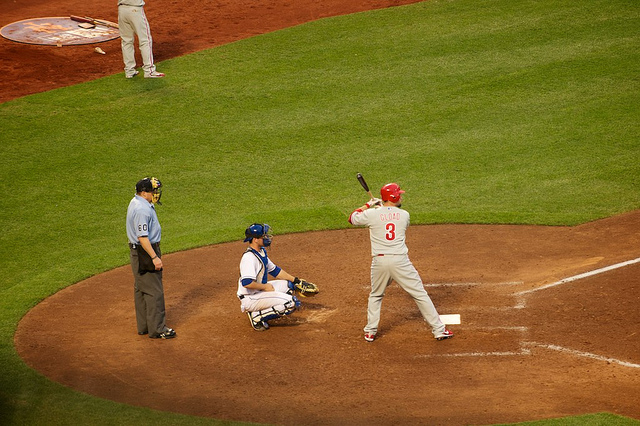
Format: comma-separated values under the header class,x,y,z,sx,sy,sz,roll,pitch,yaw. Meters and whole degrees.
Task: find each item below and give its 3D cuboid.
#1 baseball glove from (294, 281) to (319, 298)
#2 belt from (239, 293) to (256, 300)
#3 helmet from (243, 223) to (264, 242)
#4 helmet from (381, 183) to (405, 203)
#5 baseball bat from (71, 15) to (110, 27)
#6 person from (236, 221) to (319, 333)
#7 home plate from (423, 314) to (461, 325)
class,x,y,z,sx,sy,sz,roll,pitch,yaw
baseball glove,-0.253,1.537,21.314,0.488,0.288,0.164,17,58,-6
belt,-1.416,1.643,21.017,0.195,0.122,0.039,-2,7,-1
helmet,-1.281,0.381,20.921,0.493,0.329,0.284,-8,24,-2
helmet,1.397,-0.405,20.685,0.374,0.346,0.321,-7,25,3
baseball bat,-7.263,-6.052,33.353,1.828,0.164,0.175,13,37,17
person,-0.956,1.240,21.074,1.463,2.108,0.895,-12,28,-5
home plate,2.613,2.110,21.093,0.416,0.110,0.333,-3,21,5
